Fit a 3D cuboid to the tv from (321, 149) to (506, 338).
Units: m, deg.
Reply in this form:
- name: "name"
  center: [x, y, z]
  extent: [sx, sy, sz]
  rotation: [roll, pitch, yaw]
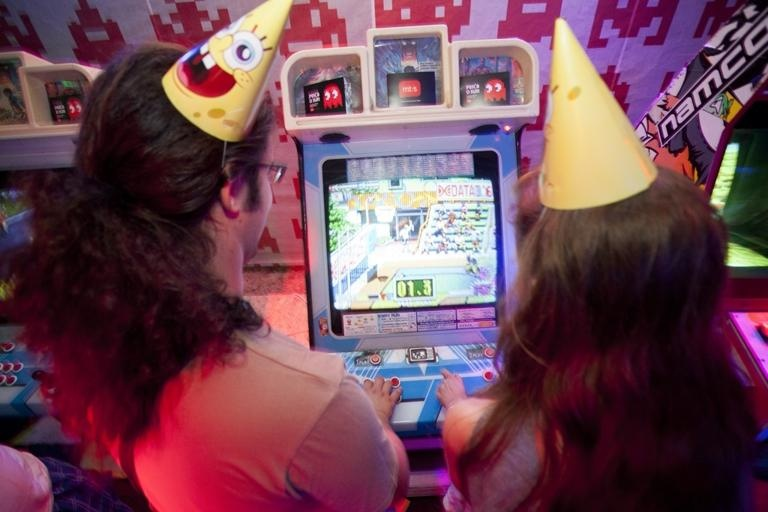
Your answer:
- name: "tv"
  center: [0.133, -0.017, 2.297]
  extent: [0.779, 0.790, 0.266]
  rotation: [-2, 1, 0]
